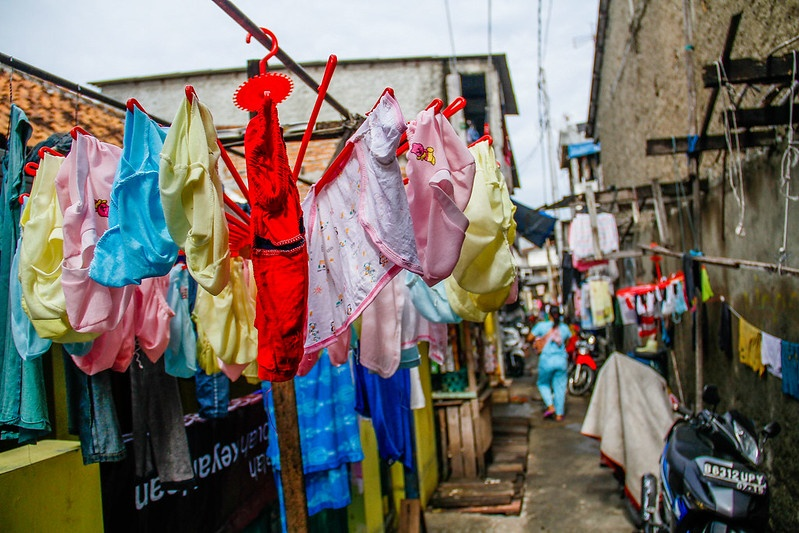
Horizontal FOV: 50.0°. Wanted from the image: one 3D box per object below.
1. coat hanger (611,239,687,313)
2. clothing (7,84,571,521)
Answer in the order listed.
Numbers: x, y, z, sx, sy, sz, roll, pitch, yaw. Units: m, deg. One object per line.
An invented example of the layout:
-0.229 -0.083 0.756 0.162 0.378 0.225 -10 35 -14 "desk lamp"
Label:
3.673 0.165 12.806 0.941 0.370 0.782 13 -24 -12 "coat hanger"
-0.550 0.162 7.544 3.138 3.600 1.249 -5 -3 8 "clothing"
